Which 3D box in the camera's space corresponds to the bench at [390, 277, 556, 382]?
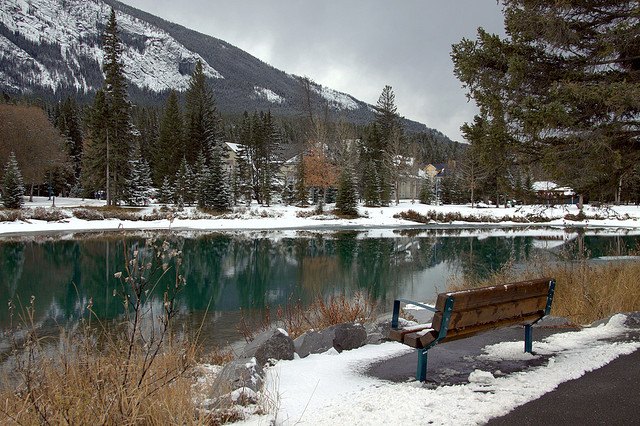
[{"bbox_3d":[3.836,2.715,14.113,4.011,2.367,1.768,-3,5,-32],"label":"bench"}]
